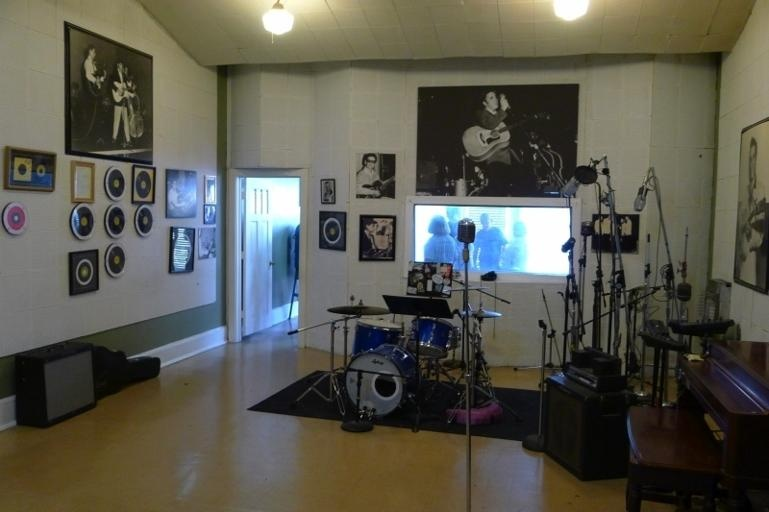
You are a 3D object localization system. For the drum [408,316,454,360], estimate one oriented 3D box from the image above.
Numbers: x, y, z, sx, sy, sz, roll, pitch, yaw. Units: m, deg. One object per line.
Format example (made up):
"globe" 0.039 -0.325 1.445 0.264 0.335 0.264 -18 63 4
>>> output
"drum" 0.633 1.099 7.788 0.536 0.379 0.555 11 -16 3

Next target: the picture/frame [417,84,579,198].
"picture/frame" 1.823 -1.756 9.164 1.634 1.262 0.067 1 -1 8

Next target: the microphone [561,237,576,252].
"microphone" 2.380 -0.127 7.956 0.159 0.071 0.285 -21 -9 -4

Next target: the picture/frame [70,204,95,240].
"picture/frame" -3.907 -0.443 7.767 0.055 0.473 0.435 -2 1 24

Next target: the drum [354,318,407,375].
"drum" -0.152 1.101 7.688 0.464 0.528 0.465 2 3 -41

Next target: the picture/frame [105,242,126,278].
"picture/frame" -3.677 0.057 8.210 0.054 0.471 0.428 -2 -5 19

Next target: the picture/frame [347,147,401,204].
"picture/frame" -0.128 -1.295 9.564 0.800 0.968 0.042 1 0 4

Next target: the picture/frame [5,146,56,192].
"picture/frame" -4.249 -1.038 7.182 0.087 0.418 0.555 -1 1 31

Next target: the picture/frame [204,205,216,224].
"picture/frame" -2.848 -0.671 9.775 0.035 0.382 0.257 1 6 22

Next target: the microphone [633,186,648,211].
"microphone" 3.472 -0.769 8.180 0.108 0.407 0.105 32 -17 -17

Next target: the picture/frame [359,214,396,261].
"picture/frame" -0.092 -0.313 9.586 0.656 0.886 0.062 0 -1 2

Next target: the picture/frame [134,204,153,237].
"picture/frame" -3.444 -0.503 8.583 0.050 0.435 0.402 -1 7 20

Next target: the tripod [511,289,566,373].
"tripod" 2.401 1.212 8.812 0.662 1.216 0.953 -2 14 -9

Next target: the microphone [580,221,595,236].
"microphone" 2.820 -0.373 8.409 0.194 0.214 0.195 4 -8 -44

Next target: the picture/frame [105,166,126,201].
"picture/frame" -3.655 -0.976 8.191 0.054 0.446 0.330 7 15 27

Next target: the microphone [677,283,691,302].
"microphone" 3.528 0.448 7.110 0.115 0.235 0.177 12 18 40

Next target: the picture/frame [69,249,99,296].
"picture/frame" -3.903 0.211 7.792 0.059 0.680 0.553 1 -2 23

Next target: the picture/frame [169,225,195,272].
"picture/frame" -3.118 -0.114 9.221 0.064 0.703 0.676 1 2 20

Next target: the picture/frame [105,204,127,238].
"picture/frame" -3.667 -0.471 8.194 0.043 0.365 0.342 -2 -22 20

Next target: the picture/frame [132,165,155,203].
"picture/frame" -3.437 -1.023 8.555 0.057 0.584 0.530 2 1 20
